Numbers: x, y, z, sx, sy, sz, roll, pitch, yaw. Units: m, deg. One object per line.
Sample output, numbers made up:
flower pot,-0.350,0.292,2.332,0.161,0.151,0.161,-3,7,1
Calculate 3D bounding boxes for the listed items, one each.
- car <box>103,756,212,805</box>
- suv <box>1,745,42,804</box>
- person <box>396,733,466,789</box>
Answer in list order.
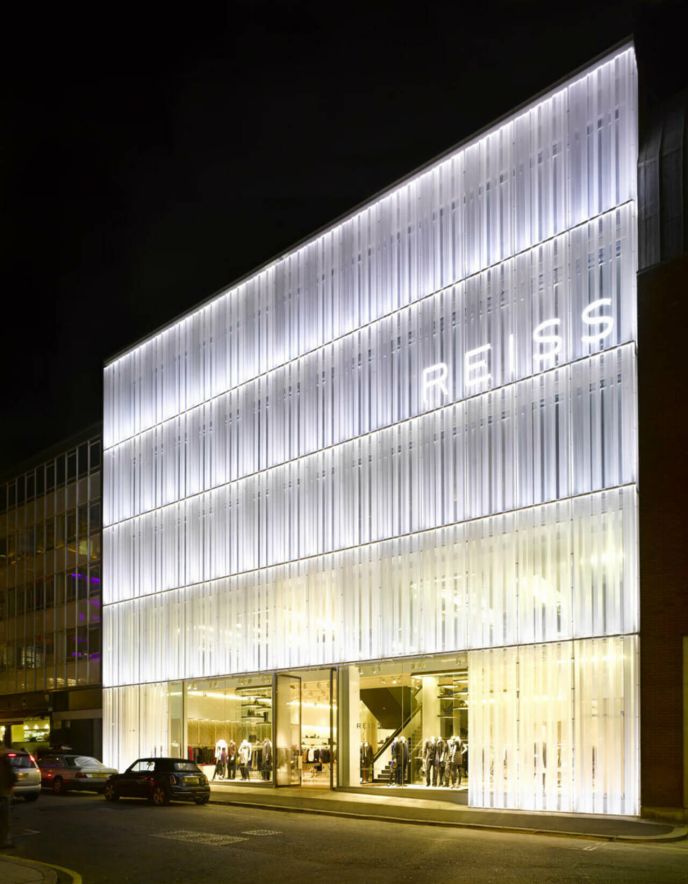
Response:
car,-4.641,8.464,26.936,1.511,1.266,3.603,15,-27,-43
suv,-7.899,8.100,26.707,0.701,1.326,4.005,3,-21,-17
person,2.439,8.822,29.774,1.132,1.453,2.798,9,-22,-33
